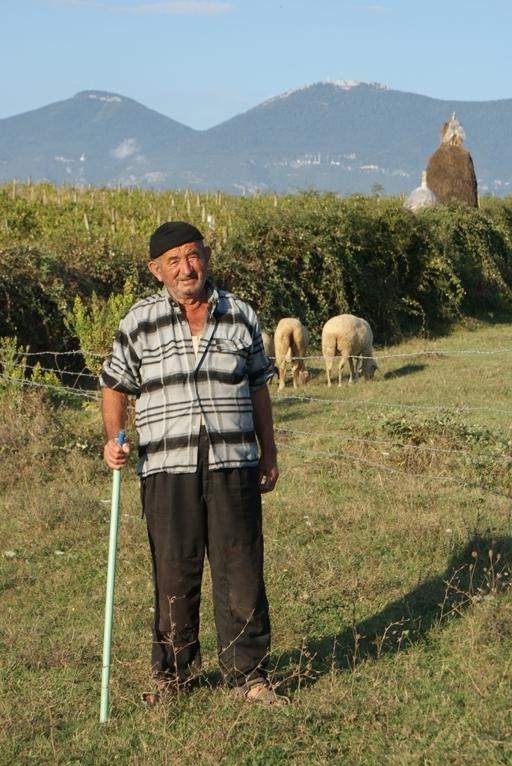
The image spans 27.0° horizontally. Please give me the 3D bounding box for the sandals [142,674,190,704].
[{"bbox_3d":[-0.459,1.545,5.372,0.121,0.077,0.198,14,25,10],"label":"sandals"}]

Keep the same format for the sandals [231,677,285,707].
[{"bbox_3d":[0.021,1.525,5.266,0.189,0.094,0.120,3,4,20],"label":"sandals"}]

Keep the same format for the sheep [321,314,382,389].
[{"bbox_3d":[1.492,-0.523,16.471,0.504,1.083,1.432,6,7,30],"label":"sheep"}]

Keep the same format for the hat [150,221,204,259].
[{"bbox_3d":[-0.385,-0.729,5.289,0.193,0.132,0.202,-19,10,33],"label":"hat"}]

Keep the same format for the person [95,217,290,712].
[{"bbox_3d":[-0.312,0.400,5.310,0.867,2.367,0.687,-1,10,-2],"label":"person"}]
